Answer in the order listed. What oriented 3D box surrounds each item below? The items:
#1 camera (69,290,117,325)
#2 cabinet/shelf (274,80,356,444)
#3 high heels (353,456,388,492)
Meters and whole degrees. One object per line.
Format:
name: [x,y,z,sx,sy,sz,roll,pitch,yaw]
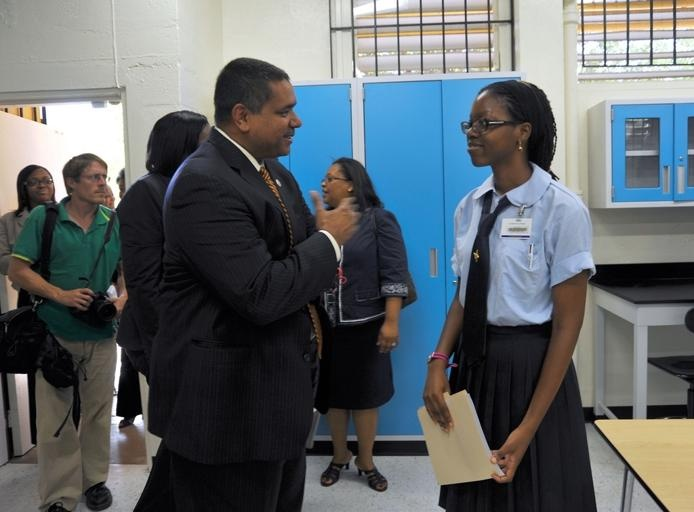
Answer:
camera: [-1.427,0.313,3.362,0.248,0.171,0.187,-11,15,-25]
cabinet/shelf: [-0.177,0.244,4.222,0.496,1.816,0.464,-2,1,-16]
high heels: [0.165,1.383,3.677,0.106,0.115,0.283,-5,8,-36]
